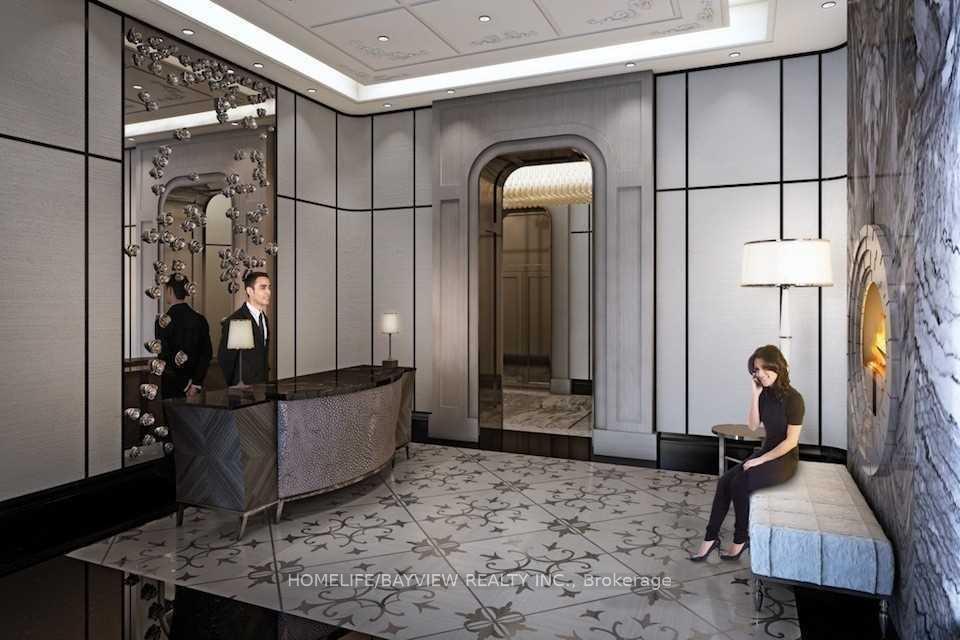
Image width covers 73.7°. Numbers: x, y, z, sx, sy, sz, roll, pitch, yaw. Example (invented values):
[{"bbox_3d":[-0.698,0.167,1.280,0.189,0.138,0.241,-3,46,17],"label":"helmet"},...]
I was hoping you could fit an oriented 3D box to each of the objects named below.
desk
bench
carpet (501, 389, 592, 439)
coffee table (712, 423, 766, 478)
[{"bbox_3d":[-1.680,1.229,7.100,1.215,1.236,3.311,-1,1,18],"label":"desk"},{"bbox_3d":[2.696,1.803,5.140,0.980,0.708,1.079,4,11,24],"label":"bench"},{"bbox_3d":[1.046,1.434,10.002,1.411,0.183,2.289,1,10,6],"label":"carpet"},{"bbox_3d":[2.700,1.481,6.873,0.439,0.483,0.449,11,-8,39],"label":"coffee table"}]
